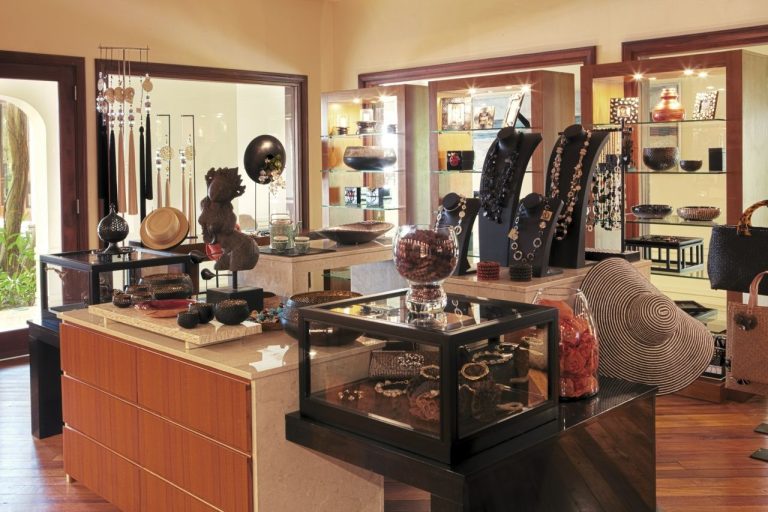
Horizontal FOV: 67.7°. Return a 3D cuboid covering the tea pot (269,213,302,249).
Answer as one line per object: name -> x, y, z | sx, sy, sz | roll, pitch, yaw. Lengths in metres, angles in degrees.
tea pot -> -0.683, -0.182, 3.998 | 0.234, 0.256, 0.150 | -3, 8, -21

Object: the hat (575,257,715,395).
hat -> 1.394, 0.417, 3.421 | 0.835, 0.821, 0.214 | -14, -21, -17

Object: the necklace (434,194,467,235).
necklace -> 0.474, -0.256, 3.881 | 0.213, 0.269, 0.168 | 3, 8, 33

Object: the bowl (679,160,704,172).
bowl -> 2.551, -0.738, 4.762 | 0.108, 0.061, 0.107 | 4, 0, 0

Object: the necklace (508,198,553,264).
necklace -> 0.945, -0.181, 3.680 | 0.271, 0.427, 0.236 | 1, 12, 12

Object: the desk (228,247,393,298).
desk -> -0.446, 0.062, 4.119 | 0.992, 0.277, 0.478 | -9, 15, -33

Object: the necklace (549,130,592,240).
necklace -> 1.220, -0.486, 3.784 | 0.254, 0.727, 0.340 | 3, 13, 20

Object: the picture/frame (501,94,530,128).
picture/frame -> 1.277, -1.405, 5.509 | 0.207, 0.320, 0.237 | -2, 12, -5

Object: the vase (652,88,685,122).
vase -> 2.372, -1.244, 4.819 | 0.265, 0.266, 0.258 | 0, -2, 2

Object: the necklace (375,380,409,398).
necklace -> 0.026, 0.477, 2.075 | 0.092, 0.029, 0.069 | 0, 10, 1

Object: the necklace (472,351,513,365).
necklace -> 0.377, 0.342, 1.993 | 0.106, 0.024, 0.057 | -1, 3, -19

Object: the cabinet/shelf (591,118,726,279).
cabinet/shelf -> 2.229, -0.478, 4.586 | 0.458, 1.226, 1.347 | -4, 5, -43

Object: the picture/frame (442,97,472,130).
picture/frame -> 0.755, -1.472, 5.939 | 0.333, 0.326, 0.028 | 8, 19, 31

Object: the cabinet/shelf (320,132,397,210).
cabinet/shelf -> -0.315, -0.931, 6.635 | 0.963, 0.802, 0.308 | -4, 12, -32

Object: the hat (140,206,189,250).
hat -> -1.632, -0.206, 4.273 | 0.326, 0.297, 0.237 | -6, 13, -23

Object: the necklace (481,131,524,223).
necklace -> 0.795, -0.554, 3.918 | 0.244, 0.634, 0.205 | 7, 14, 33
